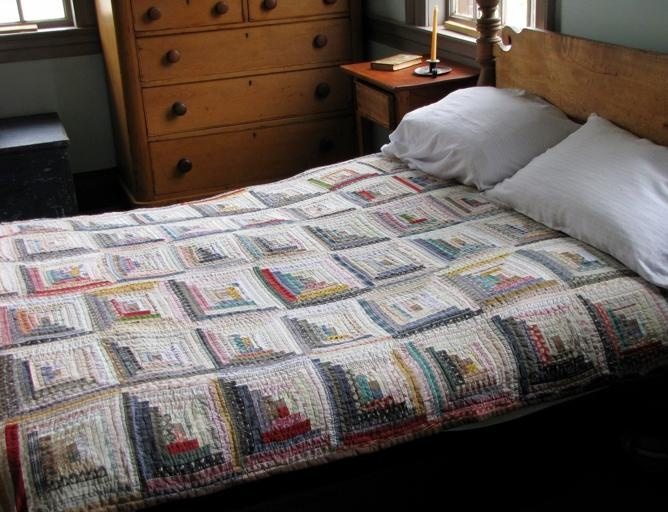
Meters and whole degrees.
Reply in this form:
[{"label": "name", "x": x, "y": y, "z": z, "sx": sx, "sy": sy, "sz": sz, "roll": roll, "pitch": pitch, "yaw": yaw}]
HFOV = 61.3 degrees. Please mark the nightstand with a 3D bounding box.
[{"label": "nightstand", "x": 0.276, "y": -0.773, "z": 2.825, "sx": 0.577, "sy": 0.417, "sz": 0.557, "roll": -8, "pitch": 28, "yaw": -16}]
